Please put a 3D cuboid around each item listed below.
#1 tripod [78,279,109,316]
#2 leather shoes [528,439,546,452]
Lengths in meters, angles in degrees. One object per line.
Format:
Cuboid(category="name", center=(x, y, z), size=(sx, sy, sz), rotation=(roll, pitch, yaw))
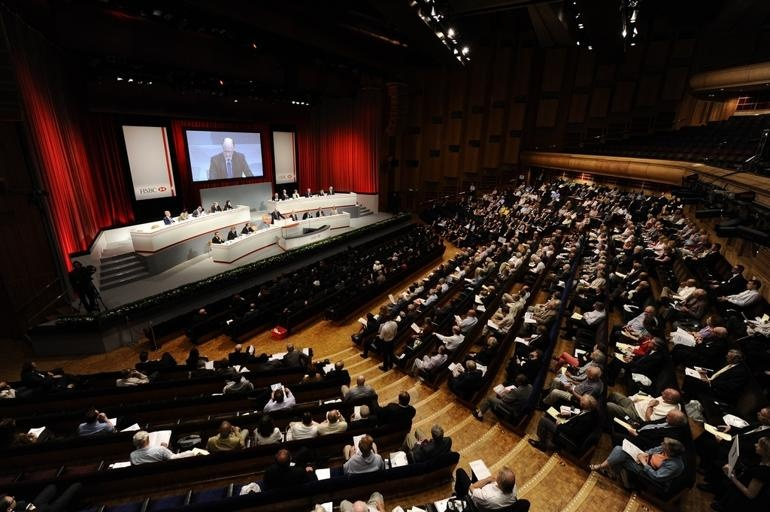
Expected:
Cuboid(category="tripod", center=(-8.768, 1.195, 13.008), size=(0.622, 0.962, 1.339), rotation=(-13, 17, -35))
Cuboid(category="leather shoes", center=(3.539, 4.430, 10.103), size=(0.274, 0.199, 0.095), rotation=(33, 59, 30))
